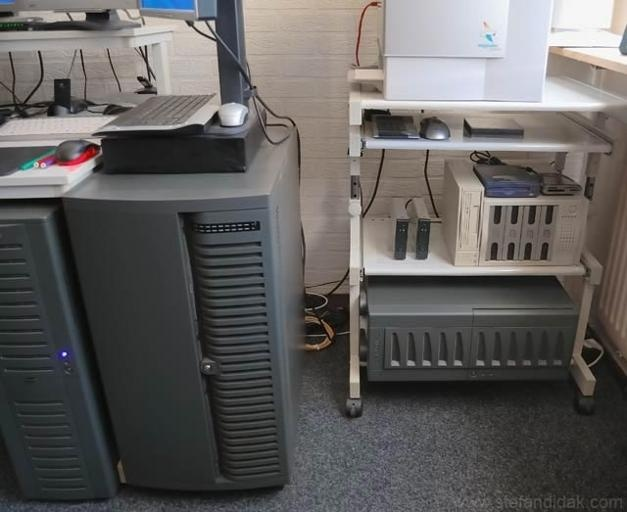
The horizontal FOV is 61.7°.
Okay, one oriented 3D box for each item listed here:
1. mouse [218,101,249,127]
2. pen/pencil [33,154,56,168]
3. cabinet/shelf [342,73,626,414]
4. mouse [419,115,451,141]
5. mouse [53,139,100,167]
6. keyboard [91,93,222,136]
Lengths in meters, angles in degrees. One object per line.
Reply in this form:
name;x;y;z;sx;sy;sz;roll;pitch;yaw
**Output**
mouse;-0.220;-0.385;1.435;0.071;0.051;0.066;-9;29;-14
pen/pencil;-0.683;-0.247;1.348;0.027;0.010;0.044;-3;27;9
cabinet/shelf;0.453;-0.197;1.909;0.887;1.017;1.187;1;38;2
mouse;0.374;-0.394;1.612;0.093;0.048;0.114;5;29;12
mouse;-0.635;-0.284;1.399;0.075;0.055;0.161;-1;28;1
keyboard;-0.420;-0.419;1.518;0.286;0.031;0.416;-1;28;0
